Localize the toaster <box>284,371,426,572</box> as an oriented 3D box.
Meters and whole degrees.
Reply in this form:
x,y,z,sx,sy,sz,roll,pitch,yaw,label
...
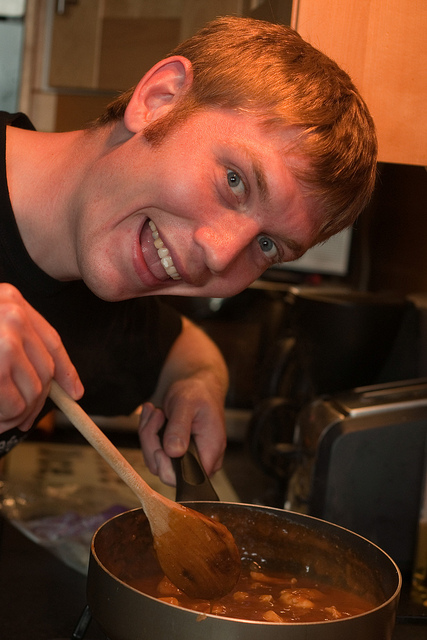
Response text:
x,y,z,sx,sy,sz,roll,pitch,yaw,label
0.213,0.199,1.030,0.249,0.417,0.243,4,11,6,toaster

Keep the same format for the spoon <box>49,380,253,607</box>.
x,y,z,sx,sy,sz,roll,pitch,yaw,label
-0.088,0.232,0.822,0.384,0.051,0.080,45,52,9,spoon

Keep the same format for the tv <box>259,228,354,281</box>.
x,y,z,sx,sy,sz,roll,pitch,yaw,label
0.254,-0.142,1.476,0.226,0.140,0.126,-1,2,40,tv
